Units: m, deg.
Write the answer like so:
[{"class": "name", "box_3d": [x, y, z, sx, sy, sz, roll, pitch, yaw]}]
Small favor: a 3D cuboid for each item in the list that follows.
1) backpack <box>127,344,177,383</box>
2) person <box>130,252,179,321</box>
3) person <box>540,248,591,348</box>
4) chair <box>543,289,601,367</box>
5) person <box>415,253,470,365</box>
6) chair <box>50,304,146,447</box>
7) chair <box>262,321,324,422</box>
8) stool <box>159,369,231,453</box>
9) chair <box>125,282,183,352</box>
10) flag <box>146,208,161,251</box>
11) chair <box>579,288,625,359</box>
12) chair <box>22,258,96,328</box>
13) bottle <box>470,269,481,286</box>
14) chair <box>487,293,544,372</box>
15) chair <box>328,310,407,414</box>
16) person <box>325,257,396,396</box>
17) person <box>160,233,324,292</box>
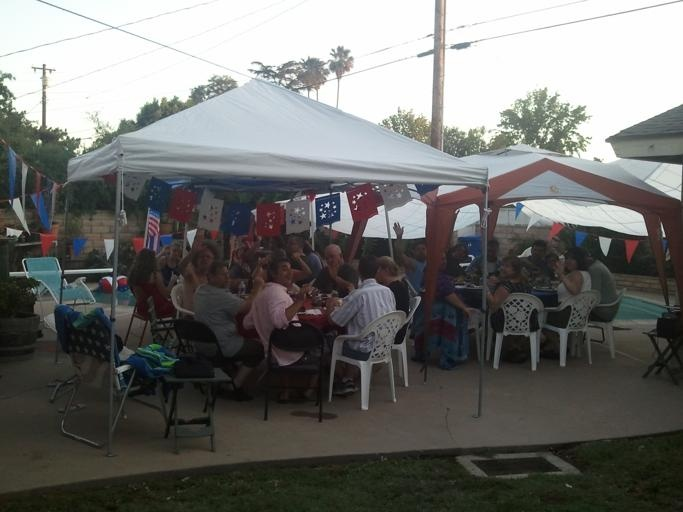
[{"class": "backpack", "box_3d": [-1.687, 0.950, 5.714, 0.336, 0.113, 0.333, -22, 55, -41]}, {"class": "person", "box_3d": [-2.353, 0.338, 7.837, 0.390, 0.917, 0.510, 4, 9, 17]}, {"class": "person", "box_3d": [3.034, 0.616, 8.617, 0.418, 0.499, 1.260, 18, 30, 23]}, {"class": "chair", "box_3d": [3.091, 0.945, 8.563, 0.588, 0.989, 0.711, 6, 3, -22]}, {"class": "person", "box_3d": [1.328, 0.759, 8.596, 0.651, 1.422, 1.318, 1, 9, 3]}, {"class": "chair", "box_3d": [-2.271, 1.092, 6.050, 0.999, 1.133, 0.872, 16, -9, -33]}, {"class": "chair", "box_3d": [-0.497, 1.109, 6.600, 0.652, 0.973, 0.814, 1, 9, -3]}, {"class": "stool", "box_3d": [-1.377, 1.417, 5.835, 0.742, 0.609, 0.702, 2, -6, 4]}, {"class": "chair", "box_3d": [-2.385, 0.715, 7.950, 0.580, 0.763, 0.493, 14, -2, -40]}, {"class": "flag", "box_3d": [-3.442, -0.457, 11.650, 0.192, 0.892, 1.202, -1, 9, -15]}, {"class": "chair", "box_3d": [3.614, 0.866, 8.937, 0.568, 0.754, 0.560, 0, 7, -6]}, {"class": "chair", "box_3d": [-5.014, 0.520, 11.699, 1.157, 0.765, 0.750, 8, 14, 0]}, {"class": "bottle", "box_3d": [1.984, 0.322, 9.431, 0.196, 0.235, 0.203, 1, -5, 3]}, {"class": "chair", "box_3d": [2.335, 0.926, 8.388, 0.712, 1.059, 0.796, -1, 10, 1]}, {"class": "chair", "box_3d": [0.269, 1.099, 6.975, 0.803, 1.028, 0.845, 2, 3, -3]}, {"class": "person", "box_3d": [0.231, 0.797, 6.910, 0.655, 1.523, 0.662, 6, 10, 30]}, {"class": "person", "box_3d": [-1.306, 0.126, 8.434, 1.173, 0.671, 1.198, 2, -2, -9]}]
